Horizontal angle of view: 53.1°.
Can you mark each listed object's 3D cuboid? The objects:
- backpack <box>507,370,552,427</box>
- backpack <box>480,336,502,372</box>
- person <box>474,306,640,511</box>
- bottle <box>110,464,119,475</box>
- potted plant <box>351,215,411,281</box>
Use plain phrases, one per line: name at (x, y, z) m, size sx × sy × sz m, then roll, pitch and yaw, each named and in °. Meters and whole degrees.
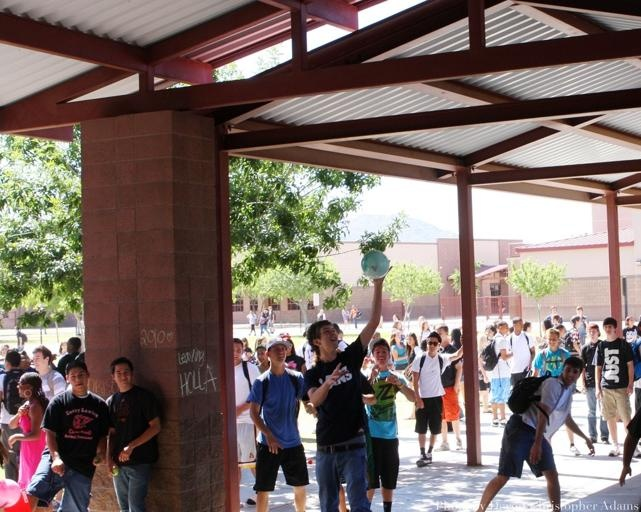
backpack at (2.301, 1.523, 6.977) m, size 0.504 × 0.508 × 0.362 m, roll 15°, pitch 8°, yaw 20°
backpack at (3.584, 2.064, 13.501) m, size 0.378 × 0.708 × 0.476 m, roll 6°, pitch 3°, yaw 14°
person at (2.352, 2.004, 6.997) m, size 1.211 × 1.391 × 0.641 m, roll -1°, pitch -2°, yaw -21°
bottle at (-2.071, 2.170, 6.481) m, size 0.072 × 0.096 × 0.073 m, roll -14°, pitch -30°, yaw -8°
potted plant at (1.037, -0.259, 11.724) m, size 0.745 × 1.412 × 0.893 m, roll -2°, pitch -19°, yaw -6°
